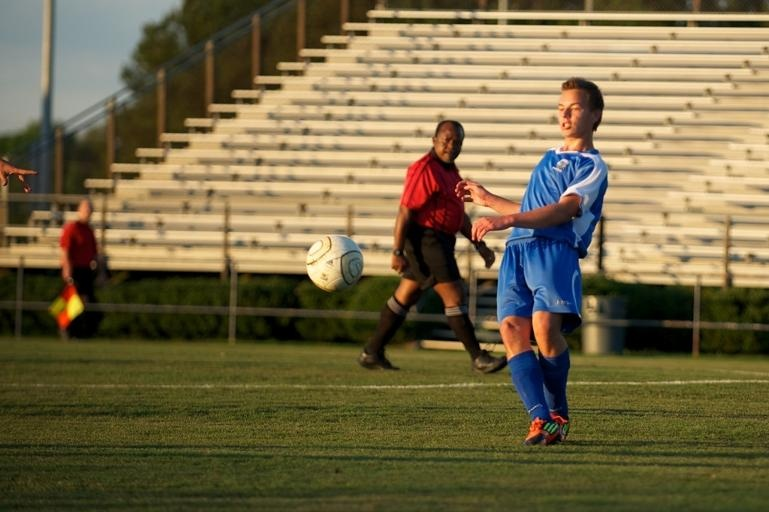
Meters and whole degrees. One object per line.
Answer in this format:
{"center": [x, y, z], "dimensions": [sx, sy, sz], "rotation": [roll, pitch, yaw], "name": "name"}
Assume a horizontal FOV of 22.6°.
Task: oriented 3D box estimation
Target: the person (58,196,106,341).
{"center": [-5.601, 0.282, 36.066], "dimensions": [0.934, 2.529, 0.961], "rotation": [1, -3, -11], "name": "person"}
